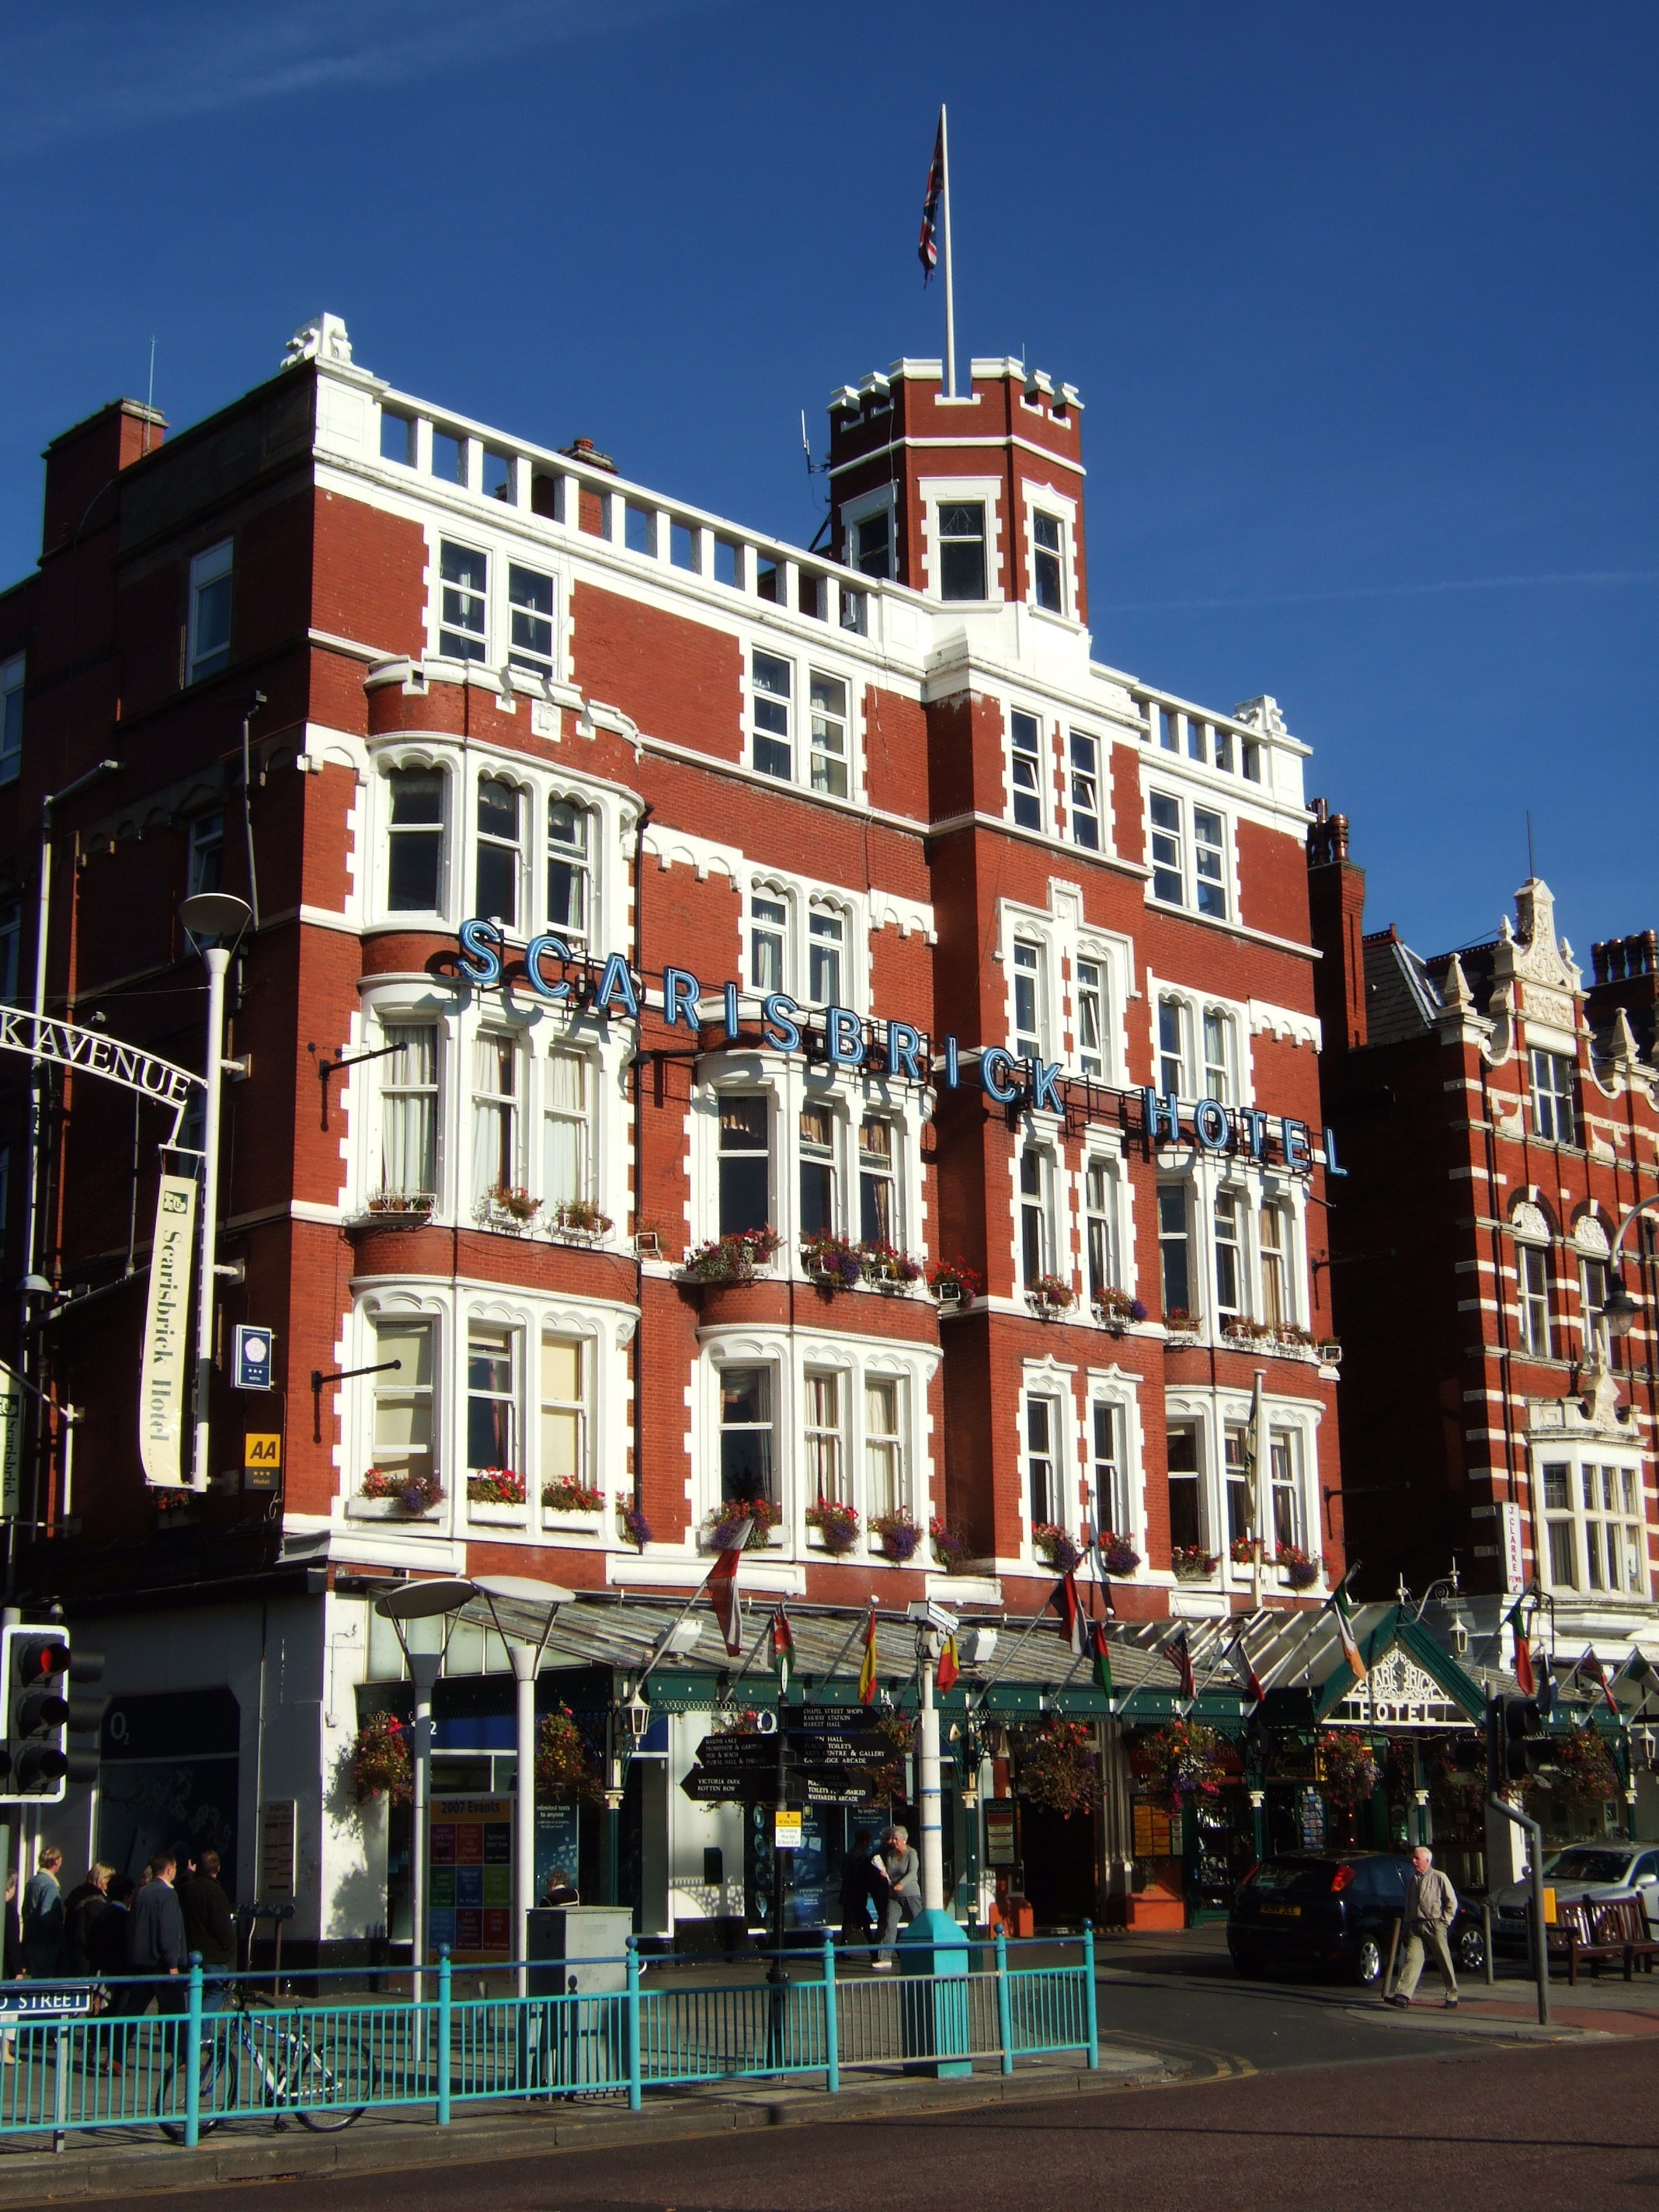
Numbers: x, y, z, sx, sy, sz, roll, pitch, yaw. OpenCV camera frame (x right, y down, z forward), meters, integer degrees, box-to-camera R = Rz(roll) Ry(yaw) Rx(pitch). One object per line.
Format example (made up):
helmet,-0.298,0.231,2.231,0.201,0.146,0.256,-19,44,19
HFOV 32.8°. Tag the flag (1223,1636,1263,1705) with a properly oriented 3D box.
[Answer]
flag,5.052,6.846,34.277,0.382,0.867,0.876,-3,-17,4

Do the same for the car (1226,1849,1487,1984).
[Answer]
car,5.394,8.337,28.953,1.838,0.954,1.101,5,-12,-41

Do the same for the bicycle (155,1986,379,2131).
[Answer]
bicycle,-3.183,5.460,15.955,1.330,0.678,0.858,6,-19,-24

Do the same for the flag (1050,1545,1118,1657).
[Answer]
flag,3.134,6.185,35.251,0.722,0.190,1.765,28,-21,15

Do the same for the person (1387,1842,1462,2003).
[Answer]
person,5.665,7.834,27.009,0.649,1.424,1.666,-5,-18,10
